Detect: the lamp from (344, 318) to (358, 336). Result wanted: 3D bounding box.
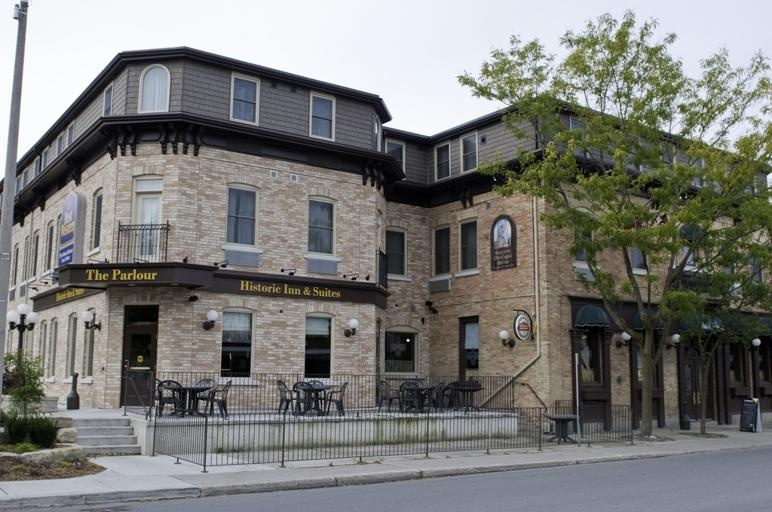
[{"bbox_3d":[-1.418,2.892,34.287,0.542,0.739,0.521,4,-16,-14],"label":"lamp"}]

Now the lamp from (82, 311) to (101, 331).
[{"bbox_3d":[-11.105,2.361,32.156,0.697,0.924,1.585,5,-16,-18],"label":"lamp"}]

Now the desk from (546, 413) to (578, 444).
[{"bbox_3d":[6.483,6.381,31.154,0.954,1.032,1.444,-3,-16,10],"label":"desk"}]

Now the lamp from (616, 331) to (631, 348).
[{"bbox_3d":[10.101,3.537,35.942,0.624,0.619,0.635,12,-20,-39],"label":"lamp"}]

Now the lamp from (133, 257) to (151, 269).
[{"bbox_3d":[-9.015,0.189,31.227,0.475,0.425,0.503,6,-16,-40],"label":"lamp"}]

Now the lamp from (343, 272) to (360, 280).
[{"bbox_3d":[-1.447,0.817,34.770,0.694,0.366,0.245,5,-7,-37],"label":"lamp"}]

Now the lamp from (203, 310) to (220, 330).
[{"bbox_3d":[-6.581,2.400,31.807,0.588,0.700,0.490,5,-16,-19],"label":"lamp"}]

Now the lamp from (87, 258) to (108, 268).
[{"bbox_3d":[-10.730,0.221,31.699,0.588,0.159,0.593,-3,-6,21],"label":"lamp"}]

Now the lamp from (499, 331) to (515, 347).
[{"bbox_3d":[4.938,3.459,35.436,0.509,0.745,0.793,6,-17,-23],"label":"lamp"}]
